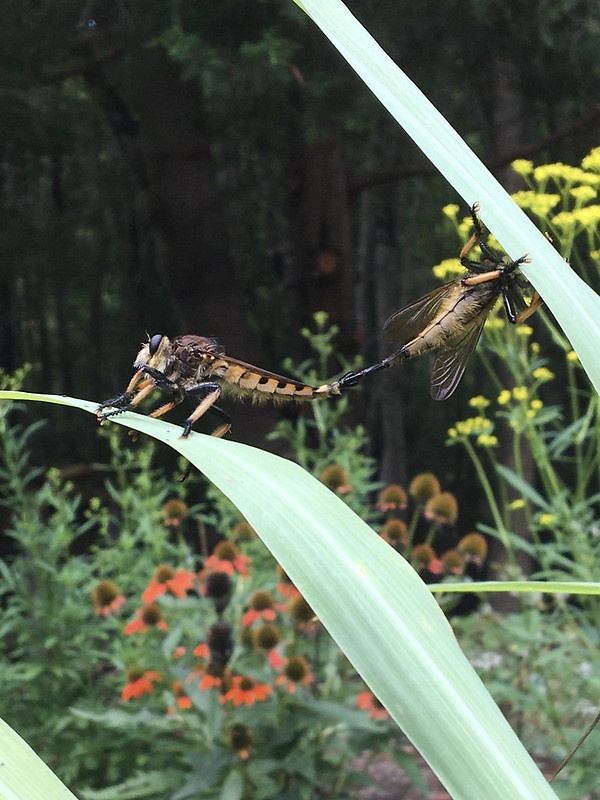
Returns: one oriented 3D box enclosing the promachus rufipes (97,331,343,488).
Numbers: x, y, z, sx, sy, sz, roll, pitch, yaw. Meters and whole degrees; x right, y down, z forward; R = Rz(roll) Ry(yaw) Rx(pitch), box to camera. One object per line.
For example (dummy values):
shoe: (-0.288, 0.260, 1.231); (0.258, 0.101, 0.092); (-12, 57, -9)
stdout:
promachus rufipes: (-0.149, 0.028, 1.937); (0.393, 0.120, 0.265); (7, 17, -22)

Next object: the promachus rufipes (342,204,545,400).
promachus rufipes: (0.305, -0.156, 1.950); (0.410, 0.297, 0.128); (-37, 15, 19)
